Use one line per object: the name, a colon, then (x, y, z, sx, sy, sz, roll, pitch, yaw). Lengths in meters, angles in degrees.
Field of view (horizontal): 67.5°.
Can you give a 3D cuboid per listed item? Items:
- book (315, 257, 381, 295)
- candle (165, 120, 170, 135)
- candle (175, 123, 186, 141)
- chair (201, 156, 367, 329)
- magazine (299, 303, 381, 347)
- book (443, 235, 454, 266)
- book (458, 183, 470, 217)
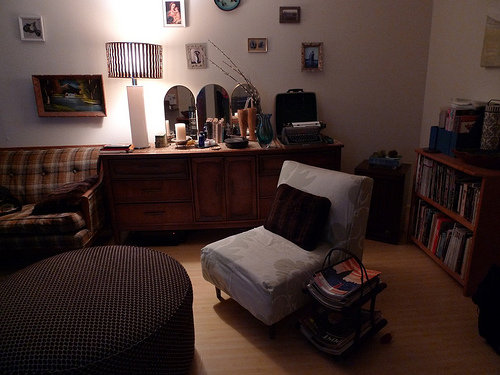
book: (0.646, 0.613, 2.503, 0.412, 0.113, 0.321, -18, 23, -37)
candle: (-0.851, -0.619, 3.844, 0.045, 0.148, 0.072, -7, 17, -13)
candle: (-0.679, -0.541, 3.627, 0.089, 0.151, 0.097, -7, 17, -11)
chair: (0.246, 0.389, 2.894, 1.033, 0.926, 0.771, -17, 25, -40)
magazine: (0.575, 0.865, 2.530, 0.548, 0.332, 0.336, 3, 18, 19)
book: (1.630, 0.518, 3.076, 0.039, 0.169, 0.162, 22, 21, 28)
book: (1.669, 0.099, 2.907, 0.038, 0.173, 0.162, 20, 18, 40)
